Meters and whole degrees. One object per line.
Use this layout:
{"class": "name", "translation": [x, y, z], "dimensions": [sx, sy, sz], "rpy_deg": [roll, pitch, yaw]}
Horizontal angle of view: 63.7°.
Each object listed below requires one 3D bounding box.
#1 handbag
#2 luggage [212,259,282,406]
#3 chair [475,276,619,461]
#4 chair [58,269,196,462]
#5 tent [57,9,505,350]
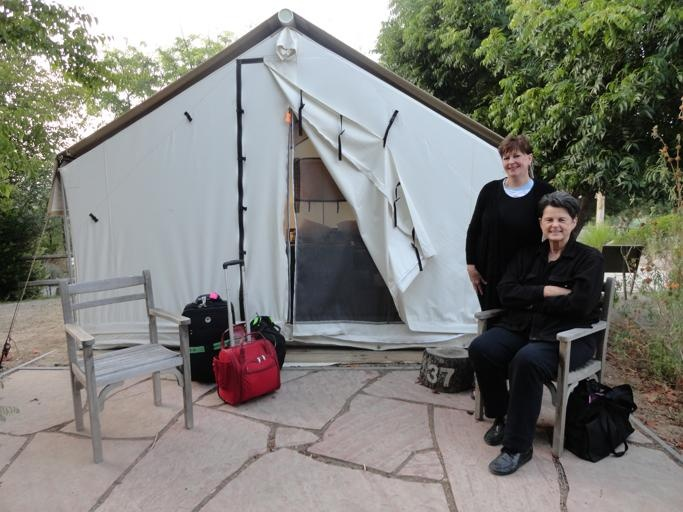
{"class": "handbag", "translation": [2.171, 1.347, 4.514], "dimensions": [0.530, 0.624, 0.443], "rpy_deg": [5, -21, -3]}
{"class": "luggage", "translation": [-0.913, 0.723, 5.211], "dimensions": [0.379, 1.308, 0.624], "rpy_deg": [3, 8, 43]}
{"class": "chair", "translation": [1.942, 0.884, 4.465], "dimensions": [0.641, 1.391, 0.294], "rpy_deg": [-2, 2, -36]}
{"class": "chair", "translation": [-2.011, 0.896, 5.002], "dimensions": [1.002, 1.509, 1.387], "rpy_deg": [-2, 1, -32]}
{"class": "tent", "translation": [-0.478, -0.641, 7.078], "dimensions": [3.575, 2.624, 3.905], "rpy_deg": [-1, -1, 2]}
